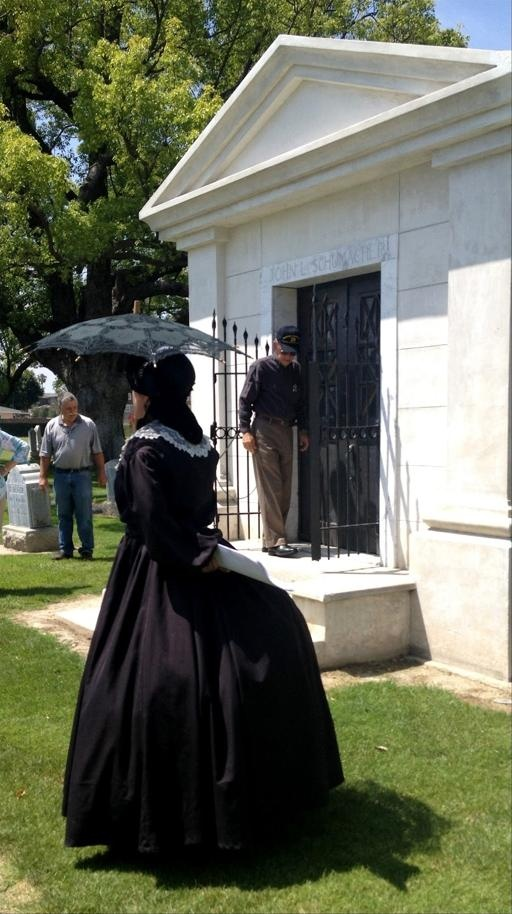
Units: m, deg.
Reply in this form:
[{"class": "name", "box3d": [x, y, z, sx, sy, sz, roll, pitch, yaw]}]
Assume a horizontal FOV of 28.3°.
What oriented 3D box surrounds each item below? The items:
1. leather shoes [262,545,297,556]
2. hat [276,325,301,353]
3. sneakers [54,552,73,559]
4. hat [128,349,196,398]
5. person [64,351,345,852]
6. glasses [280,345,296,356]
[{"class": "leather shoes", "box3d": [0.167, 0.688, 7.410, 0.225, 0.096, 0.084, -9, -8, 40]}, {"class": "hat", "box3d": [0.241, -0.848, 7.262, 0.137, 0.138, 0.231, 7, 31, -22]}, {"class": "sneakers", "box3d": [-1.800, 0.922, 9.535, 0.063, 0.080, 0.178, -4, -10, 27]}, {"class": "hat", "box3d": [-0.358, -0.289, 3.824, 0.205, 0.186, 0.160, -20, -4, 18]}, {"class": "person", "box3d": [-0.233, 0.533, 3.677, 0.989, 1.823, 0.620, -1, 5, 4]}, {"class": "glasses", "box3d": [0.210, -0.777, 7.194, 0.075, 0.043, 0.101, 10, 7, -21]}]
